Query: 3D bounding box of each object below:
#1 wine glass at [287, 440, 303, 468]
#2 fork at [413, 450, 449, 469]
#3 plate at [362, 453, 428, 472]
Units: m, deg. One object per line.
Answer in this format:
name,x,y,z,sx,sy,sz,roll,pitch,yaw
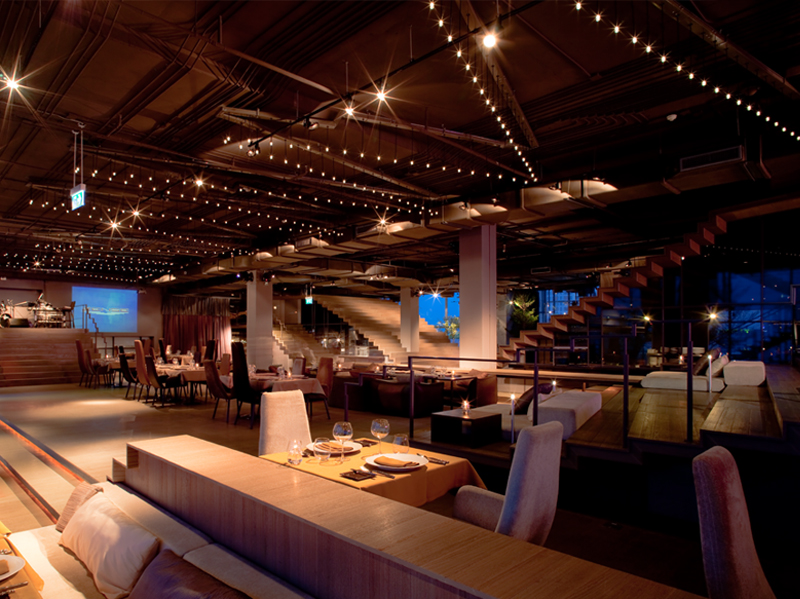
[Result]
wine glass,-0.887,1.298,5.014,0.113,0.213,0.183,1,-3,-11
fork,0.267,1.392,5.215,0.097,0.048,0.374,5,-3,-29
plate,-0.031,1.375,5.000,0.516,0.109,0.322,1,-4,-4
